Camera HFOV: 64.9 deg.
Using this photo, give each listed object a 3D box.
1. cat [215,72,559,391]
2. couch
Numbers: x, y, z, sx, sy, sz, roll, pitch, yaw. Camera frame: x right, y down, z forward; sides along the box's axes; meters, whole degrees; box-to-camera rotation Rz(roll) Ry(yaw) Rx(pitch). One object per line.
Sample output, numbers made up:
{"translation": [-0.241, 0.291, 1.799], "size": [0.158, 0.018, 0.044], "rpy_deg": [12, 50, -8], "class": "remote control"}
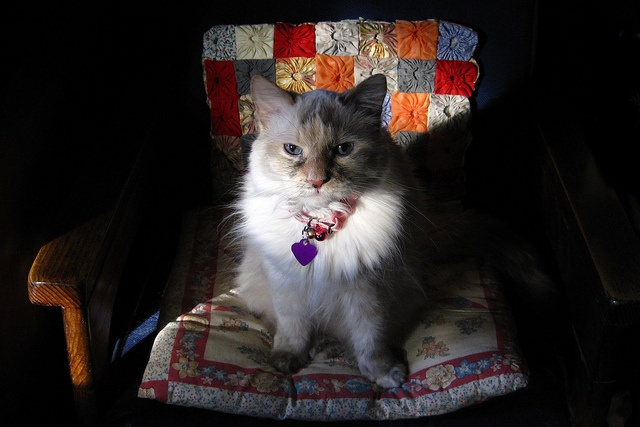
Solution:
{"translation": [0.209, 0.127, 1.892], "size": [1.150, 1.120, 0.870], "rpy_deg": [8, 33, 28], "class": "cat"}
{"translation": [0.132, 0.353, 2.377], "size": [1.897, 1.540, 1.602], "rpy_deg": [-2, -43, 2], "class": "couch"}
